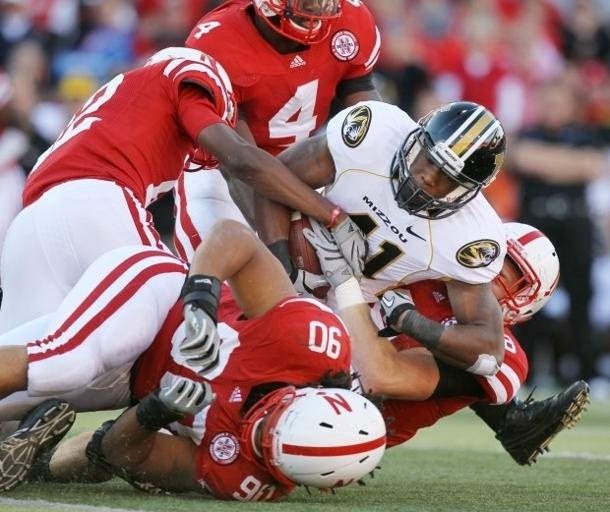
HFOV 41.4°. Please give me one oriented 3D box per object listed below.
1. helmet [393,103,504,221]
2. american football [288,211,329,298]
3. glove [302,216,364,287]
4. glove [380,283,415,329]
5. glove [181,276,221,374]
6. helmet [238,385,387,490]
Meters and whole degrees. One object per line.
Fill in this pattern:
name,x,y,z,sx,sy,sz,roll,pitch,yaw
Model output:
helmet,0.517,-0.339,2.906,0.366,0.389,0.235,12,29,4
american football,0.073,-0.009,3.095,0.109,0.277,0.213,-25,19,-8
glove,0.093,-0.001,3.102,0.224,0.258,0.097,-27,-5,-29
glove,0.375,0.167,3.008,0.122,0.144,0.143,-20,26,-17
glove,-0.288,0.200,2.230,0.109,0.253,0.212,4,29,-10
helmet,0.029,0.496,2.258,0.380,0.244,0.287,-3,-13,27
